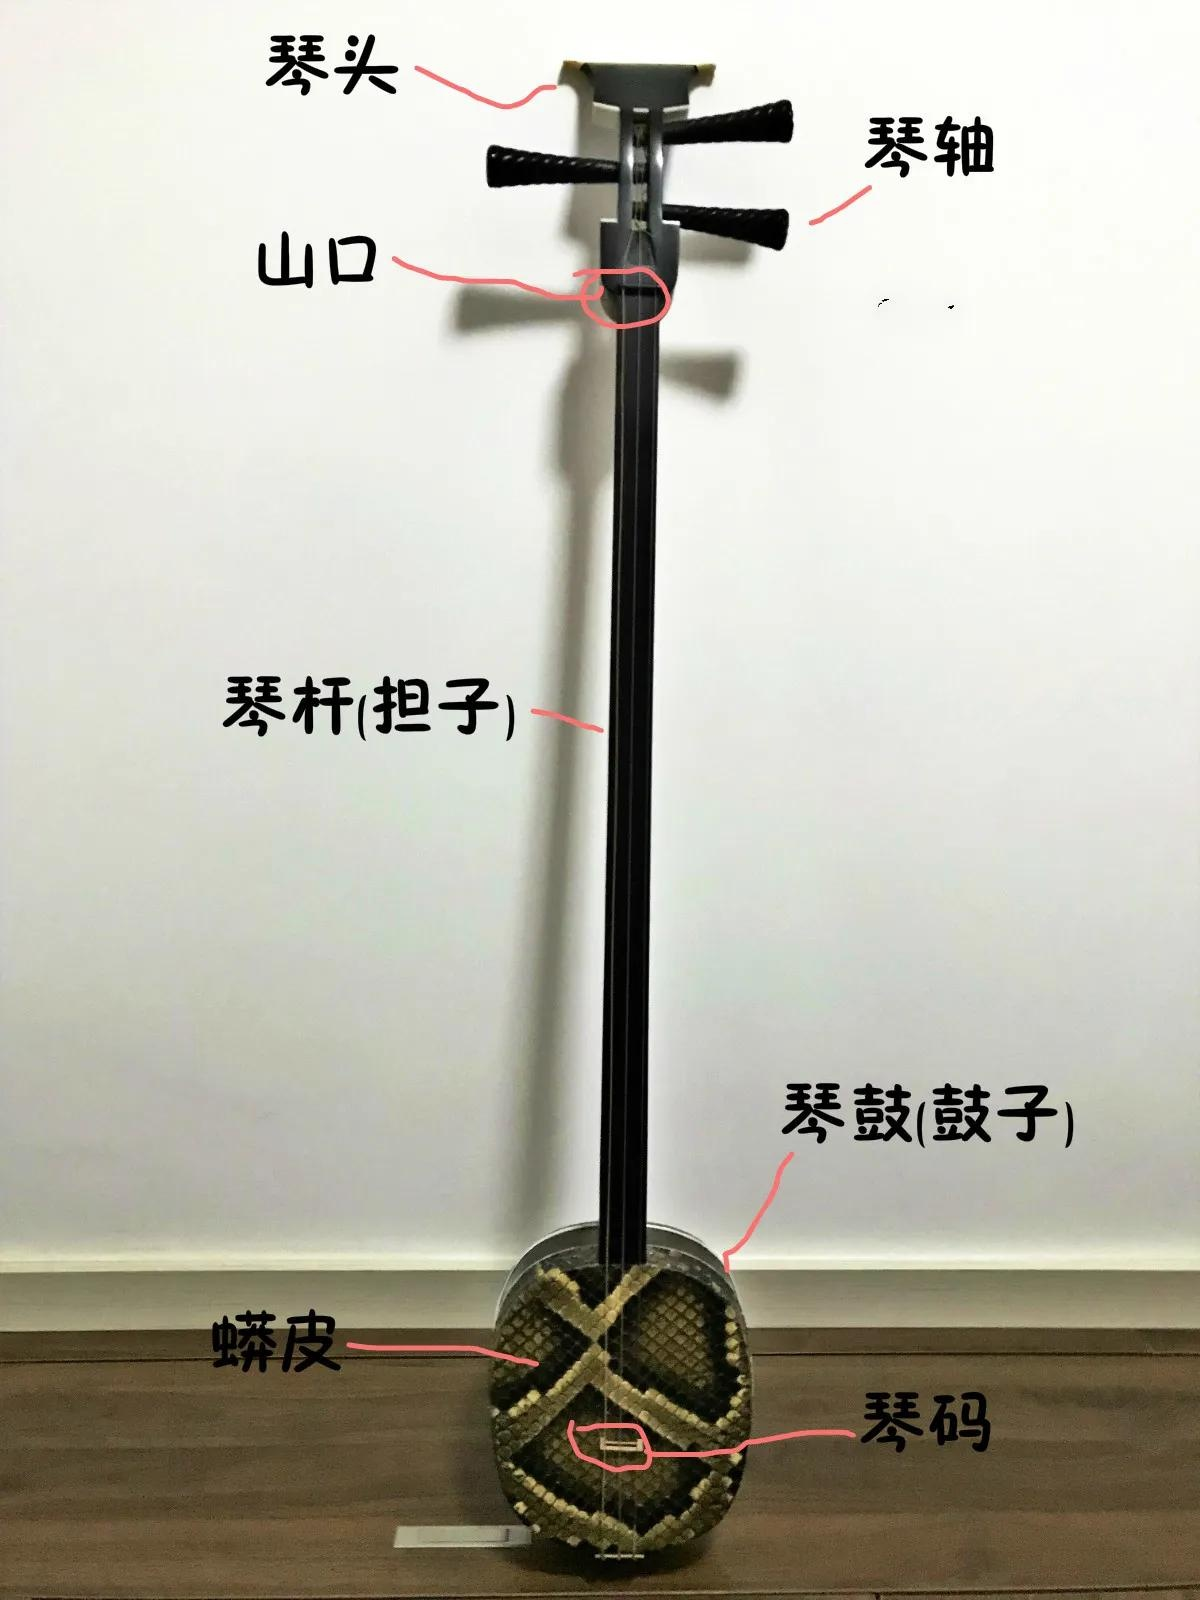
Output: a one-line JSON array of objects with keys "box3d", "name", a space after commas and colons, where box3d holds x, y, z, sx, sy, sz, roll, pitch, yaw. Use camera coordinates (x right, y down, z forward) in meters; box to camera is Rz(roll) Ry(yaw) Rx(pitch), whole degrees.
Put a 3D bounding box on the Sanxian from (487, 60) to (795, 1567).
[{"box3d": [0.011, -0.019, 2.202, 0.299, 1.472, 0.416, 4, 2, -37], "name": "Sanxian"}]
